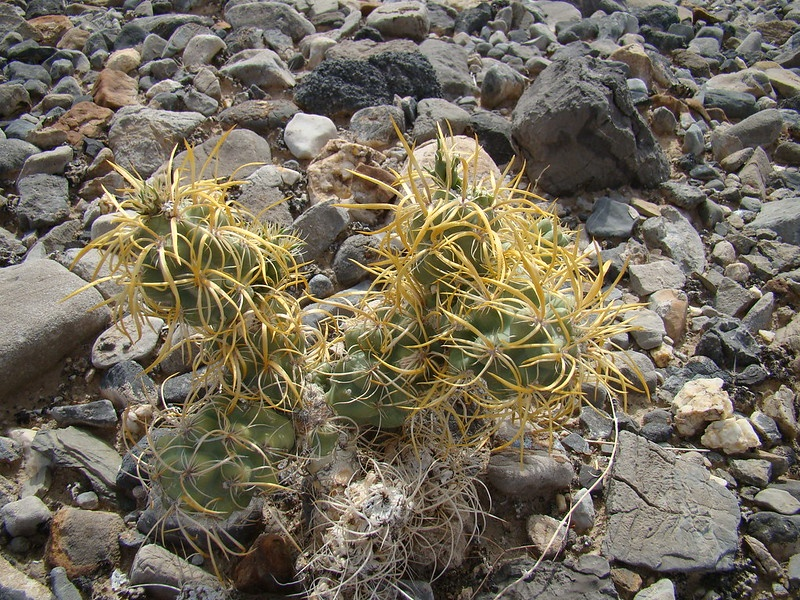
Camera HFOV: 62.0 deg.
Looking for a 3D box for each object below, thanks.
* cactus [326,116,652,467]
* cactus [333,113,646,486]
[{"bbox_3d":[0.406,0.092,2.823,0.858,0.909,0.977,-13,81,2],"label":"cactus"},{"bbox_3d":[0.373,0.078,2.823,0.924,1.017,0.931,16,15,42],"label":"cactus"}]
